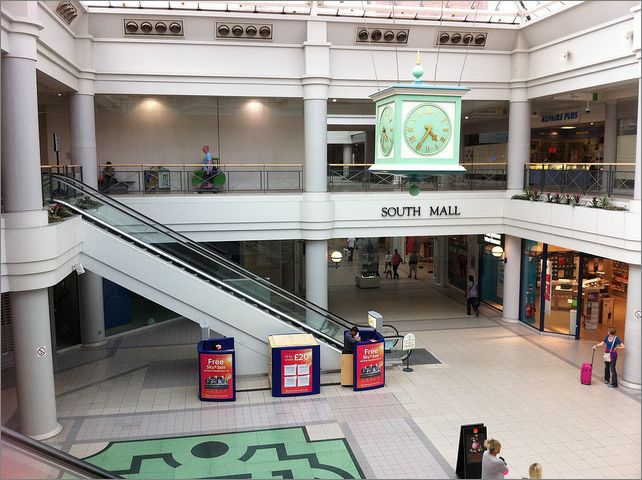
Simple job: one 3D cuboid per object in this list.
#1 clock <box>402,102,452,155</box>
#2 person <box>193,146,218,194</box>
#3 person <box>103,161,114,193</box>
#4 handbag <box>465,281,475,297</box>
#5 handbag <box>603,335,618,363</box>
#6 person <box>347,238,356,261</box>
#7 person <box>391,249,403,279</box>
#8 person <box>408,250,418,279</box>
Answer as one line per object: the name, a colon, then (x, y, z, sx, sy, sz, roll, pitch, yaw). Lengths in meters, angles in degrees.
clock: (1.688, -1.834, 8.340, 0.811, 0.842, 0.055, 2, 2, -11)
person: (-4.118, -2.564, 18.492, 0.751, 1.596, 1.412, -2, 11, -12)
person: (-7.913, -2.413, 19.064, 0.410, 0.951, 2.323, -4, 12, -22)
handbag: (5.953, 1.931, 20.246, 0.336, 0.732, 0.277, 4, 11, 21)
handbag: (8.080, 3.026, 14.273, 0.320, 0.815, 0.216, 6, 12, 28)
person: (1.769, 0.569, 29.773, 0.476, 1.510, 0.722, 1, 11, 3)
person: (3.946, 1.228, 26.875, 0.456, 1.655, 0.924, 1, 11, 8)
person: (4.839, 1.332, 26.753, 0.428, 1.491, 1.362, 2, 11, 8)
